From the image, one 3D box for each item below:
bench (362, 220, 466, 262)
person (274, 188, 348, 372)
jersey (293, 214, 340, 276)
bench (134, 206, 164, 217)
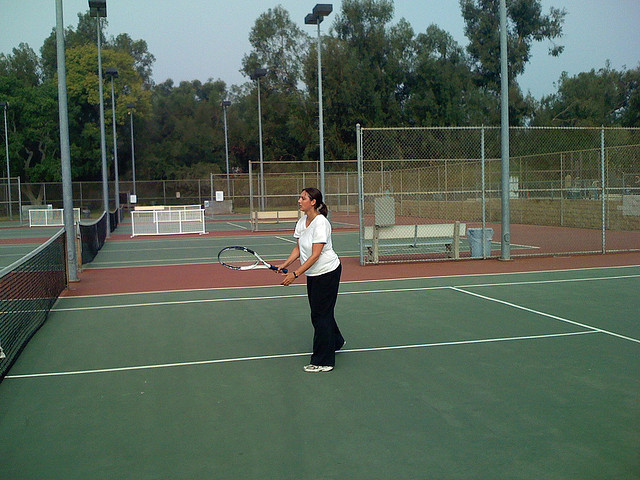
[{"bbox_3d":[2.536,-0.094,16.229,2.870,1.303,1.008,0,4,-10],"label":"bench"},{"bbox_3d":[-0.036,0.437,7.418,0.725,2.192,1.249,0,8,3],"label":"person"},{"bbox_3d":[-0.044,0.056,7.166,0.547,0.740,0.436,0,8,9],"label":"jersey"},{"bbox_3d":[-10.604,-1.798,36.733,2.078,1.105,0.641,0,-2,-23],"label":"bench"}]
